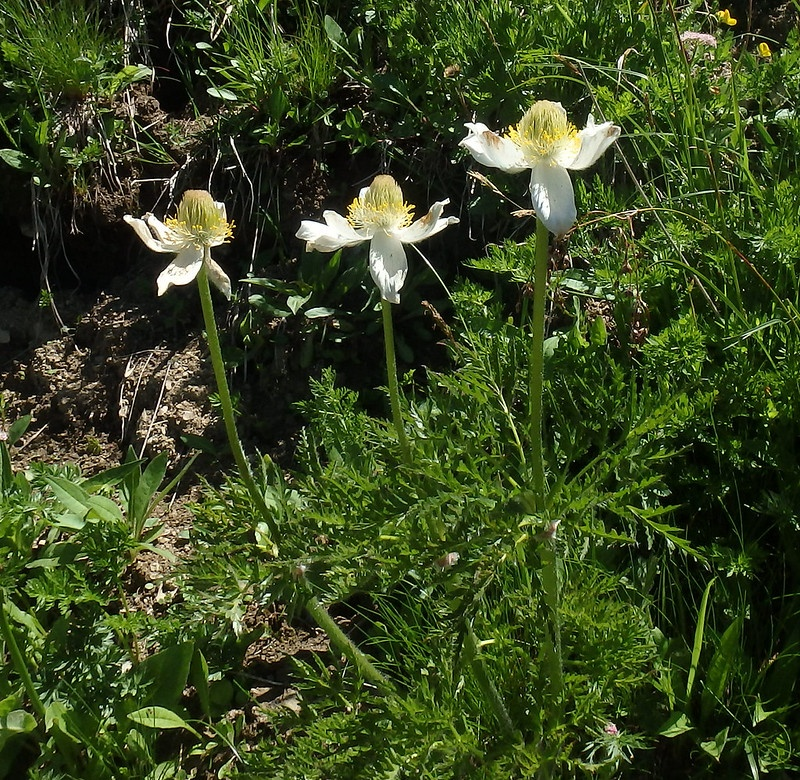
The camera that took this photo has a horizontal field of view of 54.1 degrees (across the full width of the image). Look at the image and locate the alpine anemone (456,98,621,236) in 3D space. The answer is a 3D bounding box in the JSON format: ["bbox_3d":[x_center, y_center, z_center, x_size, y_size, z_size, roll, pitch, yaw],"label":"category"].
[{"bbox_3d":[0.273,-0.428,1.493,0.264,0.197,0.279,-5,40,10],"label":"alpine anemone"}]

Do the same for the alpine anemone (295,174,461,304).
[{"bbox_3d":[-0.044,-0.393,1.845,0.313,0.264,0.371,0,23,-4],"label":"alpine anemone"}]
